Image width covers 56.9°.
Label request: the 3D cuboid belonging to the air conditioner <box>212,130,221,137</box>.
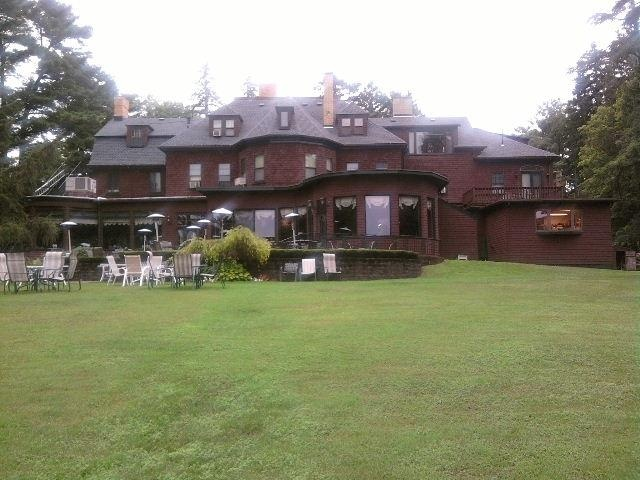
[{"bbox_3d":[-6.449,-6.558,36.796,0.404,0.281,0.399,-1,2,-8],"label":"air conditioner"}]

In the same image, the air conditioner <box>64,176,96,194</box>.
[{"bbox_3d":[-14.839,-3.256,36.308,1.347,0.852,1.355,1,0,-5],"label":"air conditioner"}]

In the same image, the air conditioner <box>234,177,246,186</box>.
[{"bbox_3d":[-4.626,-3.319,34.325,0.465,0.575,0.824,3,-6,-25],"label":"air conditioner"}]
